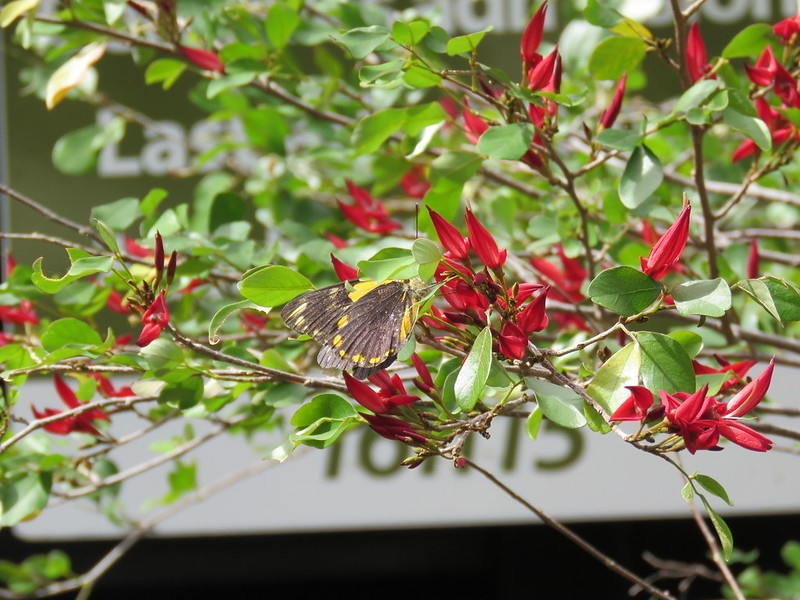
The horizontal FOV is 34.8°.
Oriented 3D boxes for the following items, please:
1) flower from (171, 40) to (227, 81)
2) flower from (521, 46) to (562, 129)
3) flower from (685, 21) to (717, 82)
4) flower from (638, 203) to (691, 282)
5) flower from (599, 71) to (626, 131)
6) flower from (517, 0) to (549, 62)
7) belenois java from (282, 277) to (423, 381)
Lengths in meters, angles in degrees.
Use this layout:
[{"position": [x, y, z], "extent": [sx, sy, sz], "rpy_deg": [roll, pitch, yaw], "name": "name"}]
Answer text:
[{"position": [-0.527, -0.646, 3.501], "extent": [0.049, 0.053, 0.214], "rpy_deg": [42, 7, 39], "name": "flower"}, {"position": [0.356, -0.606, 3.379], "extent": [0.093, 0.068, 0.219], "rpy_deg": [19, -12, 5], "name": "flower"}, {"position": [0.794, -0.672, 3.408], "extent": [0.062, 0.145, 0.197], "rpy_deg": [0, 27, 13], "name": "flower"}, {"position": [0.674, -0.142, 3.232], "extent": [0.087, 0.219, 0.071], "rpy_deg": [22, 23, 10], "name": "flower"}, {"position": [0.567, -0.525, 3.400], "extent": [0.070, 0.149, 0.225], "rpy_deg": [0, 27, 13], "name": "flower"}, {"position": [0.358, -0.727, 3.390], "extent": [0.072, 0.163, 0.184], "rpy_deg": [-3, 26, 7], "name": "flower"}, {"position": [-0.103, 0.052, 3.209], "extent": [0.287, 0.118, 0.280], "rpy_deg": [-22, 11, -19], "name": "belenois java"}]
